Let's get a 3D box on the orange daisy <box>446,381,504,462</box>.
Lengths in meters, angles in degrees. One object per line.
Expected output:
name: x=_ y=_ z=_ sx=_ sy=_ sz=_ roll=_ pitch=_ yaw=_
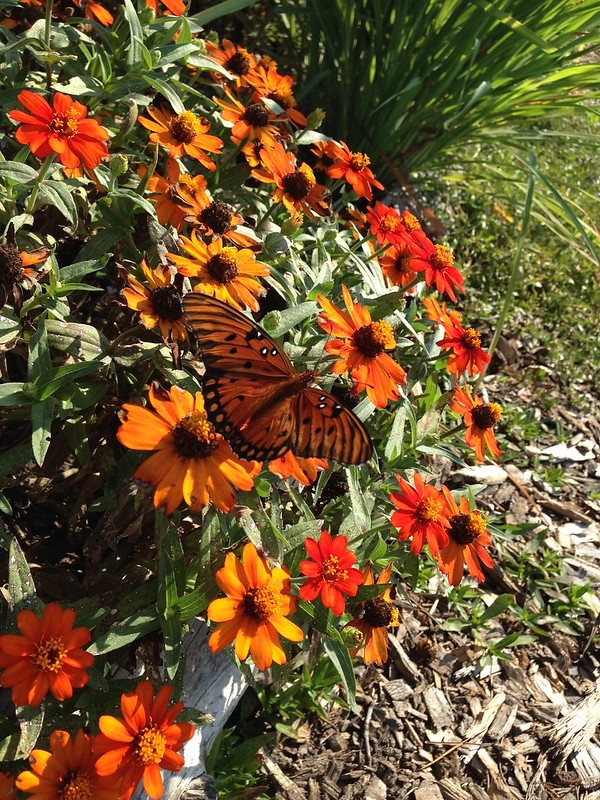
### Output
orange daisy: x=0.436 y=0.066 z=1.822 sx=0.203 sy=0.097 sz=0.197 roll=21 pitch=55 yaw=-28

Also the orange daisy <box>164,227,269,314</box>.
orange daisy: x=-0.180 y=-0.313 z=1.458 sx=0.214 sy=0.102 sz=0.222 roll=-18 pitch=46 yaw=4

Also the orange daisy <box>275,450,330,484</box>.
orange daisy: x=0.004 y=0.130 z=1.333 sx=0.079 sy=0.029 sz=0.085 roll=31 pitch=35 yaw=18

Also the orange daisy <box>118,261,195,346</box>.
orange daisy: x=-0.287 y=-0.194 z=1.316 sx=0.137 sy=0.115 sz=0.166 roll=1 pitch=45 yaw=-33

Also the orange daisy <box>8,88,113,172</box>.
orange daisy: x=-0.442 y=-0.507 z=1.249 sx=0.159 sy=0.172 sz=0.064 roll=38 pitch=50 yaw=-43

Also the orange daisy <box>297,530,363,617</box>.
orange daisy: x=0.076 y=0.331 z=1.317 sx=0.053 sy=0.171 sz=0.160 roll=7 pitch=50 yaw=-38

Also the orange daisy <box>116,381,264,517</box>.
orange daisy: x=-0.210 y=0.110 z=1.191 sx=0.232 sy=0.083 sz=0.228 roll=35 pitch=50 yaw=-11
